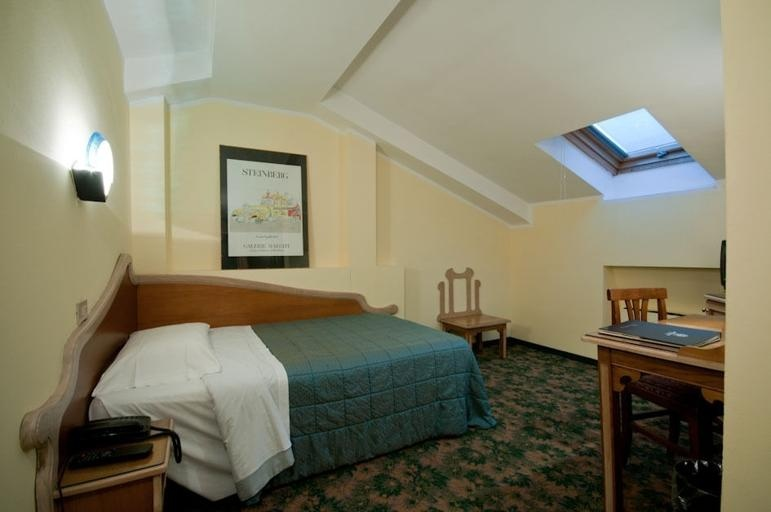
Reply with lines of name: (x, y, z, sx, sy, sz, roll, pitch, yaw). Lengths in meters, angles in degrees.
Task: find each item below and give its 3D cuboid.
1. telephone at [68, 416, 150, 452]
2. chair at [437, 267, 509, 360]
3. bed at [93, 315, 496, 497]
telephone: (-1.429, 0.914, 2.642, 0.238, 0.059, 0.172, 1, -1, -27)
chair: (0.906, 0.622, 5.387, 0.725, 0.936, 0.705, -1, 4, 7)
bed: (-0.566, 0.893, 3.443, 1.854, 0.631, 1.219, -5, 8, -29)
